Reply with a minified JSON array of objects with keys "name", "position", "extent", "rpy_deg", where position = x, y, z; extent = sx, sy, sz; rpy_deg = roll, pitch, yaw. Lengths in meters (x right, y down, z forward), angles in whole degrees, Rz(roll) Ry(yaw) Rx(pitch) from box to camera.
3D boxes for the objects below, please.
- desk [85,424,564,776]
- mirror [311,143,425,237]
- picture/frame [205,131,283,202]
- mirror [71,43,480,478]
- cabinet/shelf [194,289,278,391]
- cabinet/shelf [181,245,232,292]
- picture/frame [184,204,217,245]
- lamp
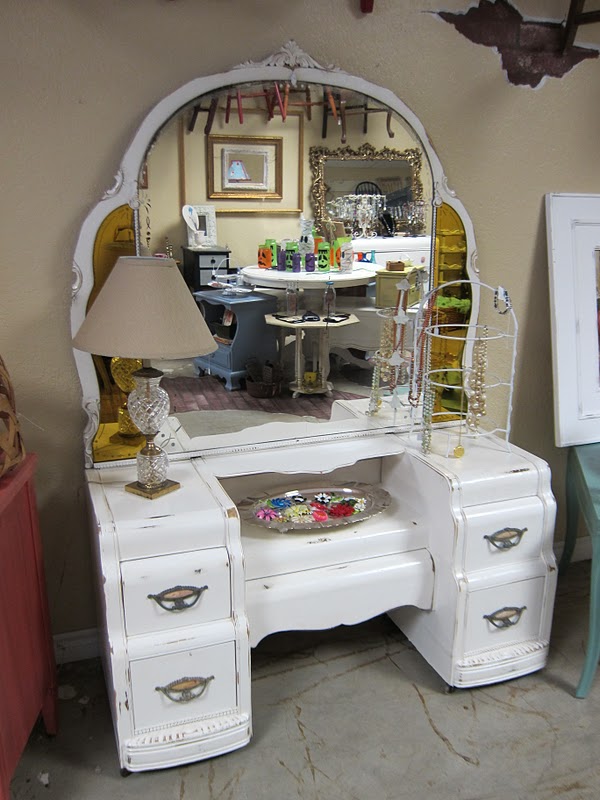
[{"name":"desk","position":[0.075,0.544,2.060],"extent":[1.372,0.672,0.612],"rpy_deg":[-4,18,-21]},{"name":"mirror","position":[0.188,-0.639,1.999],"extent":[0.319,0.242,0.017],"rpy_deg":[-7,12,-31]},{"name":"picture/frame","position":[-0.165,-0.658,1.855],"extent":[0.218,0.163,0.017],"rpy_deg":[-2,10,-17]},{"name":"mirror","position":[-0.100,-0.430,1.946],"extent":[1.490,1.417,0.032],"rpy_deg":[-3,17,-14]},{"name":"cabinet/shelf","position":[-0.213,-0.234,2.135],"extent":[0.273,0.348,0.274],"rpy_deg":[-12,27,-28]},{"name":"cabinet/shelf","position":[-0.258,-0.382,1.962],"extent":[0.141,0.172,0.118],"rpy_deg":[-11,22,-31]},{"name":"picture/frame","position":[-0.278,-0.493,1.851],"extent":[0.101,0.117,0.010],"rpy_deg":[-11,20,-24]},{"name":"lamp","position":[-0.399,-0.049,1.729],"extent":[0.382,0.609,0.361],"rpy_deg":[5,12,16]}]
